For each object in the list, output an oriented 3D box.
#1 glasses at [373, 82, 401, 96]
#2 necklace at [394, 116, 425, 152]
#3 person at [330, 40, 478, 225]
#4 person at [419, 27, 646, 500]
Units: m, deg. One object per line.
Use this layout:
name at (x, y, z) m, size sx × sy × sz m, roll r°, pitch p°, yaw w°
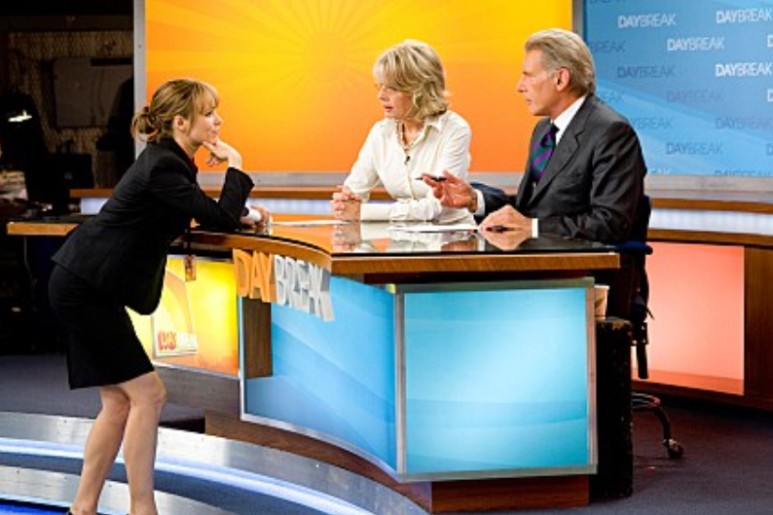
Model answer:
glasses at (-0.001, -0.913, 3.751) m, size 0.132 × 0.038 × 0.126 m, roll 1°, pitch 19°, yaw -31°
necklace at (0.091, -0.690, 3.899) m, size 0.141 × 0.191 × 0.066 m, roll -5°, pitch 4°, yaw 5°
person at (0.083, -0.711, 3.958) m, size 0.866 × 1.008 × 0.757 m, roll -5°, pitch 10°, yaw -18°
person at (0.832, 0.022, 3.746) m, size 1.039 × 2.342 × 0.964 m, roll 4°, pitch 5°, yaw -31°
